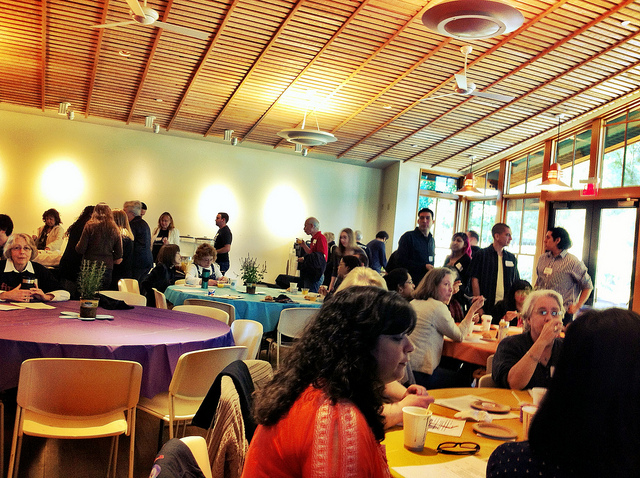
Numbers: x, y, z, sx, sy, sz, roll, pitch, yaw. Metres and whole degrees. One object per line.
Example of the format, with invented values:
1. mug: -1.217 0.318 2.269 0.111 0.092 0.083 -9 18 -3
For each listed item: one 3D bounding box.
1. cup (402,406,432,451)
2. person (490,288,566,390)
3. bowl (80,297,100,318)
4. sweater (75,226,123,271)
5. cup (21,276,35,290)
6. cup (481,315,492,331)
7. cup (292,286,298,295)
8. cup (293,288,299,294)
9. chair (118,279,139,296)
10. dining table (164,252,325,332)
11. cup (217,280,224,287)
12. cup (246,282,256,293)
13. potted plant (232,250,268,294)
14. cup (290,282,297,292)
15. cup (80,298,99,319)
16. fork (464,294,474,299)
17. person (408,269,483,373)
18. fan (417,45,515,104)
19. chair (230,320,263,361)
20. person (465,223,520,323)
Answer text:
1. cup: 0.364 0.727 1.885 0.097 0.159 0.091 5 1 0
2. person: 1.187 0.598 2.924 0.421 0.617 1.056 5 1 26
3. bowl: -1.646 0.489 3.535 0.122 0.127 0.123 4 -11 1
4. sweater: -2.447 0.067 5.545 0.474 0.461 0.250 8 2 -37
5. cup: -2.347 0.352 4.027 0.110 0.111 0.105 0 -5 0
6. cup: 1.543 0.788 4.643 0.125 0.121 0.120 2 -3 0
7. cup: -0.317 0.655 6.335 0.074 0.079 0.074 -1 -4 0
8. cup: -0.314 0.662 6.364 0.059 0.068 0.060 3 1 0
9. chair: -2.188 0.535 5.737 0.175 0.220 0.196 3 -24 -35
10. dining table: -0.818 0.627 5.866 1.218 0.628 1.215 2 9 -29
11. cup: -1.227 0.547 6.120 0.067 0.048 0.069 0 -6 0
12. cup: -0.809 0.573 5.874 0.107 0.080 0.106 1 -2 0
13. potted plant: -0.868 0.417 5.992 0.236 0.241 0.322 26 35 29
14. cup: -0.342 0.599 6.258 0.096 0.086 0.099 1 -3 0
15. cup: -1.639 0.487 3.538 0.128 0.135 0.131 3 -7 0
16. fork: 1.392 0.539 4.614 0.059 0.014 0.057 15 -3 -42
17. person: 0.955 0.633 3.935 0.615 0.789 0.305 4 1 -32
18. fan: 2.026 -2.443 7.037 1.087 0.555 0.951 11 -19 -43
19. chair: -0.550 0.778 3.843 0.246 0.354 0.312 -3 -11 22
20. person: 2.107 0.646 6.004 0.688 1.601 0.398 1 6 1
